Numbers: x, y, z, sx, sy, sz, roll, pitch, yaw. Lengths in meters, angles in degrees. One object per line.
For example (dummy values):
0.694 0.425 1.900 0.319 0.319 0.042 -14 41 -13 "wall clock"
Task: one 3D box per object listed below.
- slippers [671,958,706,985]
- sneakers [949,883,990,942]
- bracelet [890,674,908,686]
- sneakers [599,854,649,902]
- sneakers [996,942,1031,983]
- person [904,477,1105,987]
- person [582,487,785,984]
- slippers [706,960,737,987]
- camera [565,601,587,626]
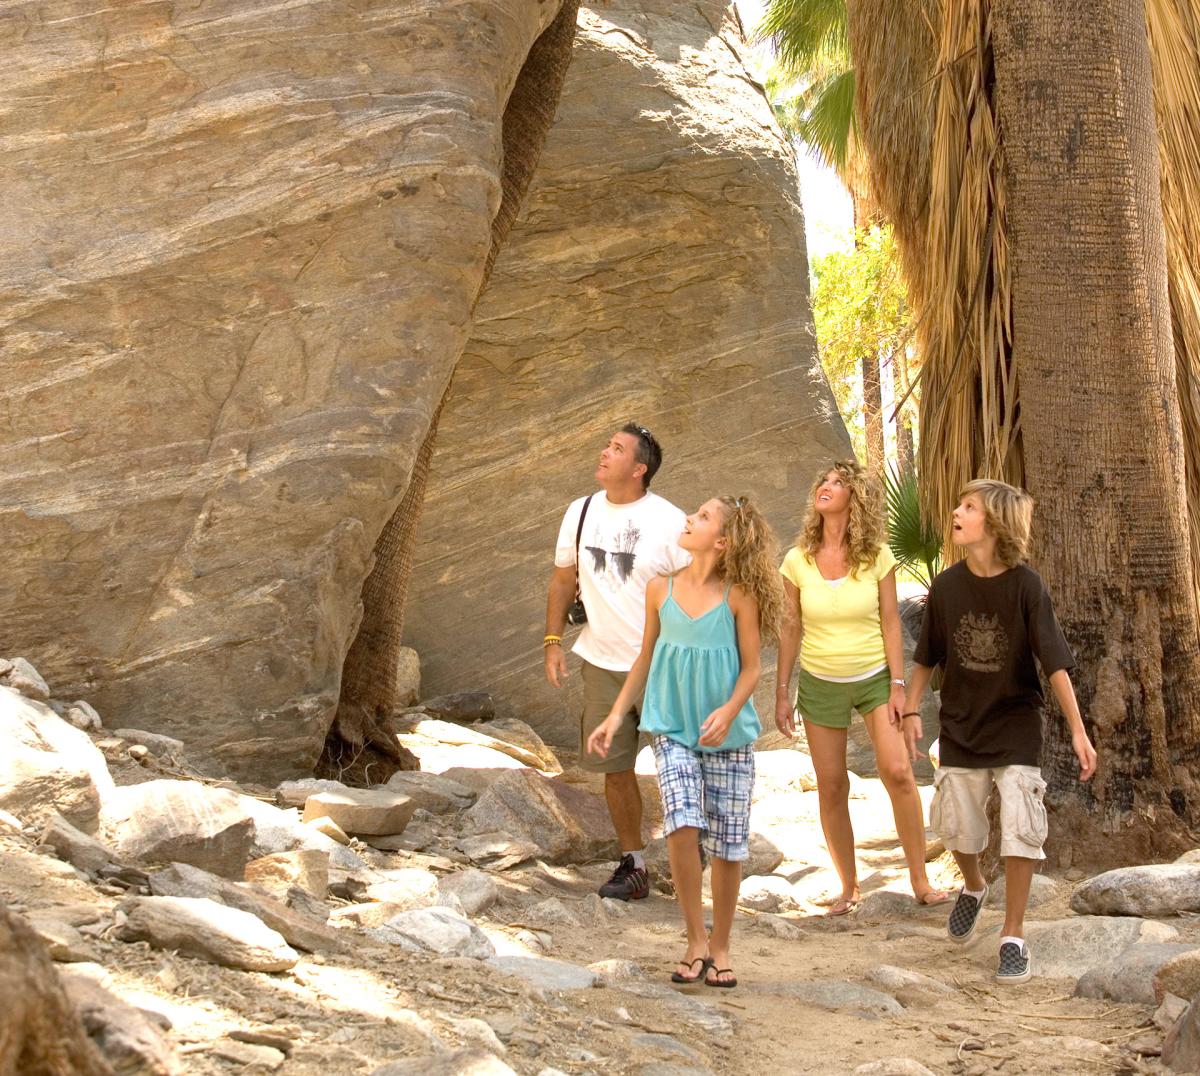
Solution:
0.288 1.371 4.212 0.133 0.073 0.065 -1 -5 -12 "slippers"
1.362 1.407 4.964 0.087 0.239 0.096 13 -27 28 "sneakers"
1.174 0.562 5.237 0.037 0.022 0.044 -1 -37 5 "bracelet"
0.110 1.385 5.375 0.100 0.130 0.276 4 -13 21 "sneakers"
1.403 1.416 4.496 0.123 0.134 0.090 -2 -5 -2 "sneakers"
1.449 0.635 4.808 0.472 1.711 0.663 -2 -5 -5 "person"
0.369 0.640 4.337 0.468 1.583 0.348 -3 -5 6 "person"
0.379 1.380 4.217 0.081 0.037 0.163 -2 -9 -2 "slippers"
-0.095 0.330 5.674 0.082 0.099 0.110 4 10 13 "camera"
